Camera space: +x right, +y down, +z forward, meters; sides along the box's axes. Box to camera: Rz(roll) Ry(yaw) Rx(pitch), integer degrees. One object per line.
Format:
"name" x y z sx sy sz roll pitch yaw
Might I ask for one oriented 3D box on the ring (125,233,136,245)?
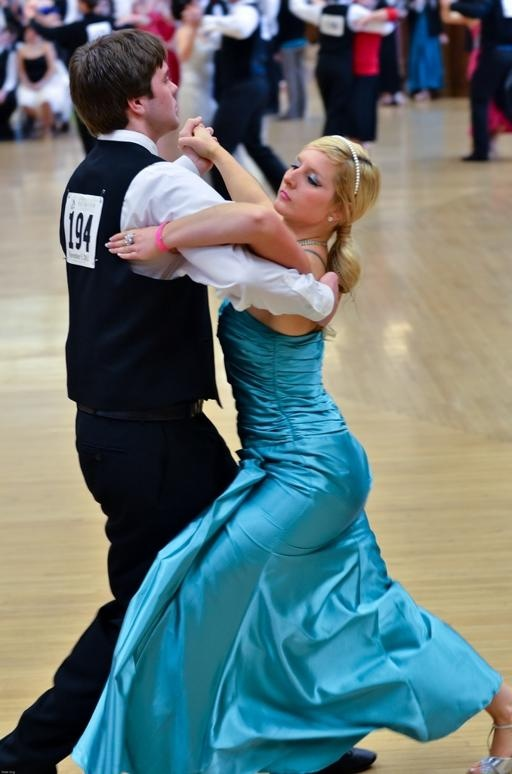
"ring" -0.219 -0.247 1.557 0.022 0.017 0.019 -3 16 -7
